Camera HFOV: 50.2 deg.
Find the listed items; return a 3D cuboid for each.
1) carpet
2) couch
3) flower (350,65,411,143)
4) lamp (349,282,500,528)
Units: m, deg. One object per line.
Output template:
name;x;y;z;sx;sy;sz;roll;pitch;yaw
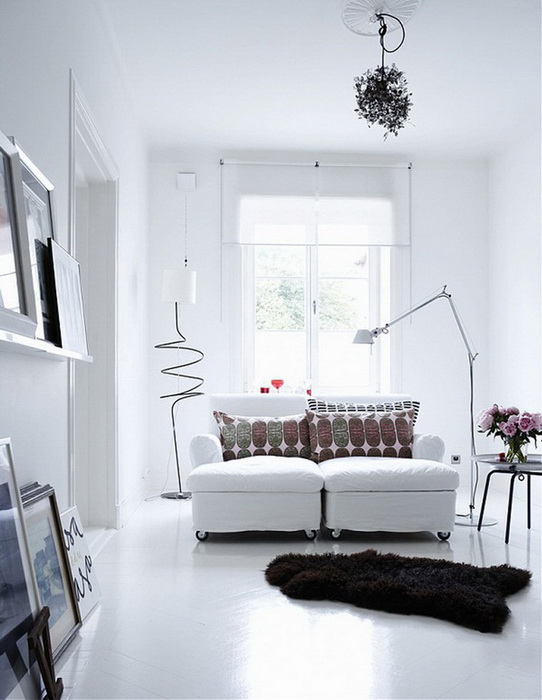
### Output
carpet;0.517;0.986;2.503;1.086;0.119;0.747;-1;2;27
couch;0.308;0.748;3.679;1.613;0.780;0.863;-2;2;0
flower;0.587;-1.246;2.805;0.234;0.216;0.205;29;2;-5
lamp;1.294;0.361;4.813;1.141;1.961;0.409;2;39;19
